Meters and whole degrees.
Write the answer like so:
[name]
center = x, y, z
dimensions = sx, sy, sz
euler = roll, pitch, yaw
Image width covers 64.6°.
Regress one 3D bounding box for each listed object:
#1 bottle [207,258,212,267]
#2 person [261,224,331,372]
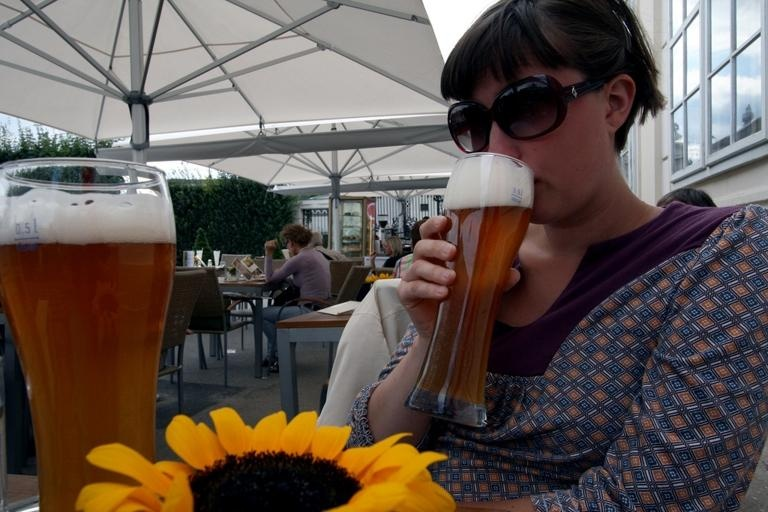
[bottle]
center = -2.533, 0.100, 8.835
dimensions = 0.089, 0.160, 0.088
euler = 3, 7, 0
[person]
center = -0.900, 0.459, 6.305
dimensions = 0.800, 1.549, 0.607
euler = -2, -7, 6
